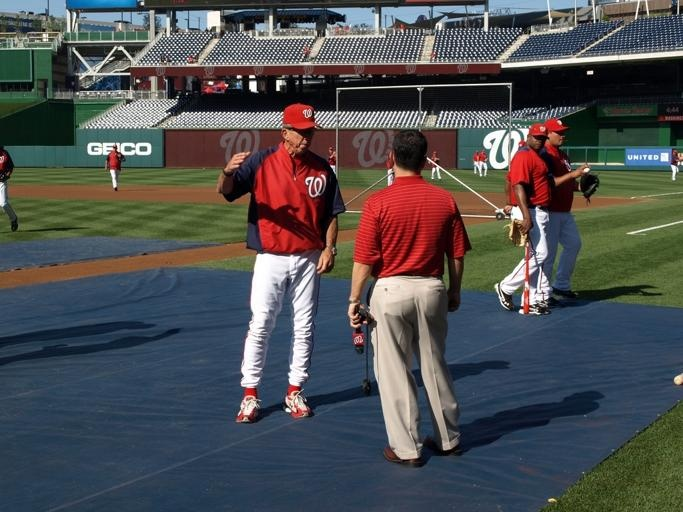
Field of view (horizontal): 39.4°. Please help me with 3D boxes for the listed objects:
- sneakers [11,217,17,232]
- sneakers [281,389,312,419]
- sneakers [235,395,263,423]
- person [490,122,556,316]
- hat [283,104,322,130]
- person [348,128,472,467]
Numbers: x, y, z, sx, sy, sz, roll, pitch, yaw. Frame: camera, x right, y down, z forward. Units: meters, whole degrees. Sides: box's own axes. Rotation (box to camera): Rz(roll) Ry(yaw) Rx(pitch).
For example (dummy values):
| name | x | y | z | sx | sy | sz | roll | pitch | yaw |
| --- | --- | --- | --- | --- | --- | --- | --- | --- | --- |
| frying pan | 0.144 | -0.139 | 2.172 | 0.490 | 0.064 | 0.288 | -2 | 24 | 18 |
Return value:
| name | x | y | z | sx | sy | sz | roll | pitch | yaw |
| --- | --- | --- | --- | --- | --- | --- | --- | --- | --- |
| sneakers | -6.220 | -0.620 | 18.172 | 0.113 | 0.252 | 0.125 | 5 | 15 | -21 |
| sneakers | -0.412 | 1.369 | 8.818 | 0.178 | 0.136 | 0.356 | -1 | -1 | -30 |
| sneakers | -0.861 | 1.377 | 8.728 | 0.223 | 0.225 | 0.326 | -4 | 11 | -4 |
| person | 2.256 | -0.448 | 11.475 | 0.490 | 2.271 | 0.771 | -1 | 13 | 11 |
| hat | -0.399 | -1.280 | 8.618 | 0.238 | 0.151 | 0.318 | -7 | 12 | -38 |
| person | 0.590 | 0.330 | 8.045 | 0.969 | 2.790 | 0.653 | -11 | 14 | -28 |
